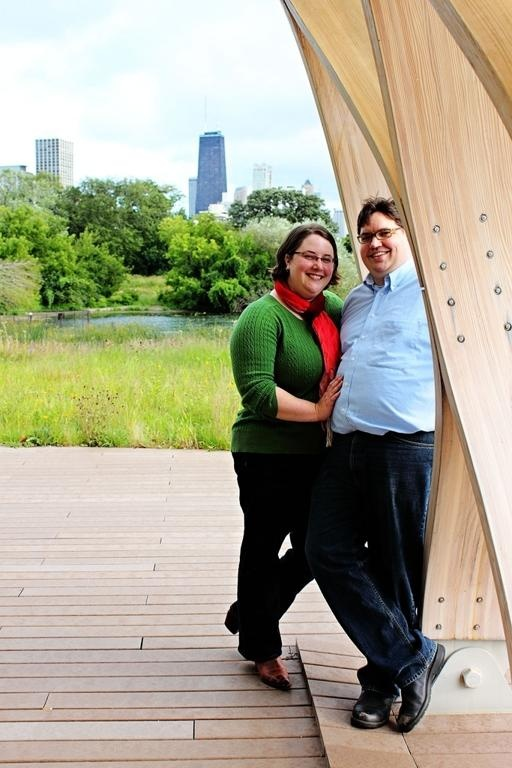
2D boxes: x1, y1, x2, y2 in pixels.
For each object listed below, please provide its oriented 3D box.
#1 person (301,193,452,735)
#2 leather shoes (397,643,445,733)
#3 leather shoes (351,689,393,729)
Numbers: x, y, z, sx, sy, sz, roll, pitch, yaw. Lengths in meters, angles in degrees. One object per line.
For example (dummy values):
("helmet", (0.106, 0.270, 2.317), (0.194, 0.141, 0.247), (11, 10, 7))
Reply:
("person", (0.352, 0.206, 1.909), (0.381, 1.471, 0.373), (1, 6, 17))
("leather shoes", (0.464, 0.845, 1.875), (0.201, 0.215, 0.068), (-6, 8, -43))
("leather shoes", (0.313, 0.889, 1.836), (0.057, 0.067, 0.164), (-2, -12, 22))
